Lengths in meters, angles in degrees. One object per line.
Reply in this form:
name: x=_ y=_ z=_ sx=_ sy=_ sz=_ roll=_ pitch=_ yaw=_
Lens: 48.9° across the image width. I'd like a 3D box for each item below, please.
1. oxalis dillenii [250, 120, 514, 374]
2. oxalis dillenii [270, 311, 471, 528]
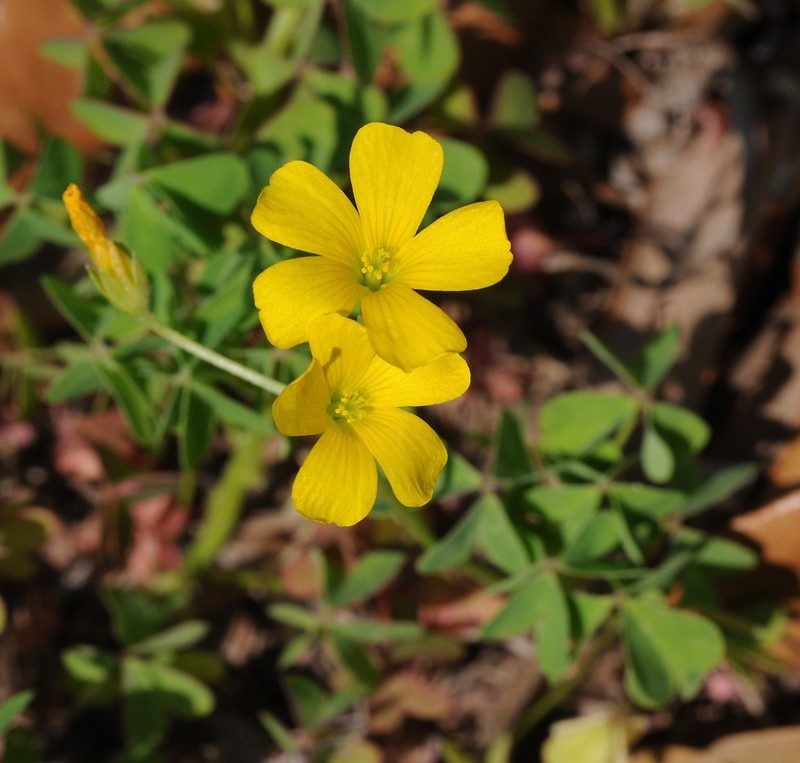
oxalis dillenii: x=-0.029 y=-0.169 z=1.150 sx=0.328 sy=0.358 sz=0.091 roll=27 pitch=56 yaw=-36
oxalis dillenii: x=-0.041 y=0.056 z=1.089 sx=0.213 sy=0.136 sz=0.254 roll=18 pitch=84 yaw=2
